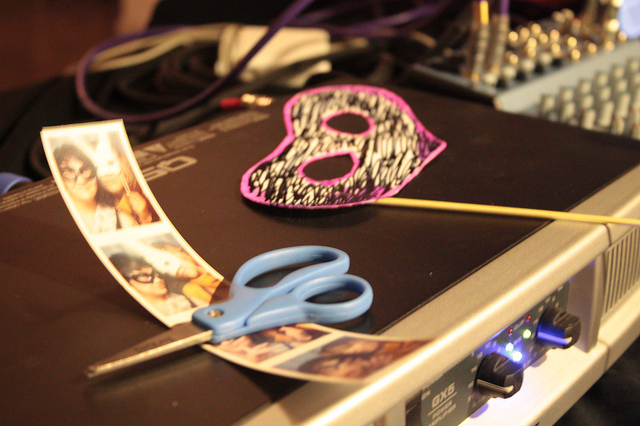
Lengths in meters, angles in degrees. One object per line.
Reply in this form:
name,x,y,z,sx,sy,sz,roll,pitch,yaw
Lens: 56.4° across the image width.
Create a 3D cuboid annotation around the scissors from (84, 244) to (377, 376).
scissors,-0.074,0.052,0.492,0.202,0.014,0.109,-15,27,-27
